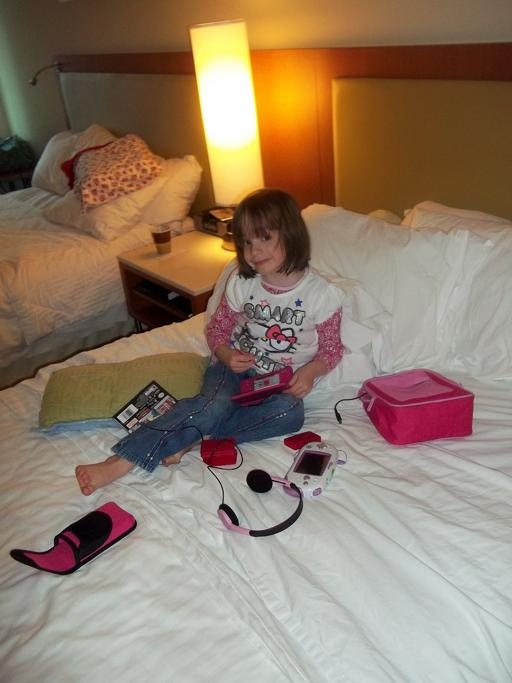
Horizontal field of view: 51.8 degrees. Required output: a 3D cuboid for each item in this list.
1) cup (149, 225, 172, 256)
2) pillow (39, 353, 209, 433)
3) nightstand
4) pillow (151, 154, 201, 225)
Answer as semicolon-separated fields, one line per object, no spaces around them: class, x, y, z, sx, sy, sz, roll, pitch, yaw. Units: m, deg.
cup;-0.406;-0.437;2.301;0.121;0.120;0.111;-3;43;3
pillow;-0.345;0.131;1.353;0.333;0.072;0.190;-5;43;-16
nightstand;-0.313;-0.201;2.388;0.473;0.404;0.366;31;48;33
pillow;-0.333;-0.723;2.618;0.283;0.317;0.104;10;-6;37
